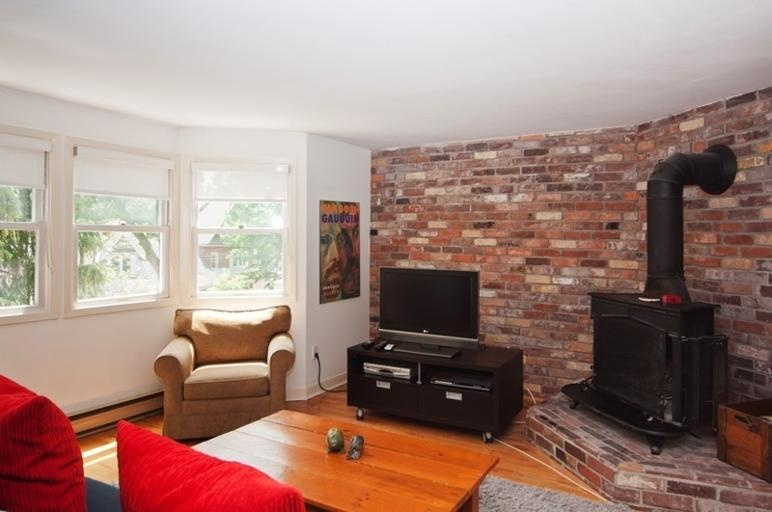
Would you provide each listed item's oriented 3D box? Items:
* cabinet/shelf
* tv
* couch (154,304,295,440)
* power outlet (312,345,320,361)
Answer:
[{"bbox_3d":[0.390,1.228,5.024,1.408,0.540,0.678,4,-3,17],"label":"cabinet/shelf"},{"bbox_3d":[0.422,0.549,5.019,0.993,0.602,0.105,1,-3,24],"label":"tv"},{"bbox_3d":[-1.418,1.034,4.856,1.233,0.900,0.859,0,8,-5],"label":"couch"},{"bbox_3d":[-0.739,1.002,5.506,0.026,0.163,0.100,0,5,25],"label":"power outlet"}]
